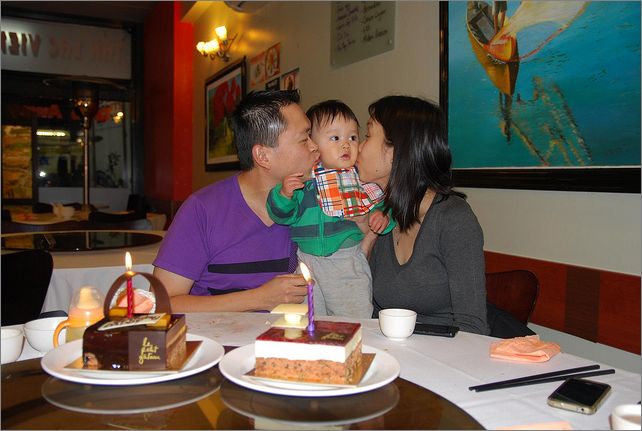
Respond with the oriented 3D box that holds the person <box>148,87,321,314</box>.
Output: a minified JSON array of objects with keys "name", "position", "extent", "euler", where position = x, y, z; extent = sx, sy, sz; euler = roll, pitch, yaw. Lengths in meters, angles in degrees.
[{"name":"person","position":[-0.388,-0.111,2.005],"extent":[0.773,0.961,0.311],"euler":[-3,10,-22]}]

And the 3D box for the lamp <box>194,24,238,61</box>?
[{"name":"lamp","position":[-1.359,-2.264,5.597],"extent":[0.664,0.461,0.251],"euler":[10,13,43]}]

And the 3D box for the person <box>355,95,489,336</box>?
[{"name":"person","position":[0.468,-0.043,1.838],"extent":[0.342,0.946,0.709],"euler":[-7,12,-38]}]

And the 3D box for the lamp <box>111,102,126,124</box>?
[{"name":"lamp","position":[-3.946,-1.998,8.295],"extent":[0.251,0.344,0.083],"euler":[3,-1,-14]}]

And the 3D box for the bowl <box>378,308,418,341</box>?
[{"name":"bowl","position":[0.240,0.370,1.422],"extent":[0.159,0.097,0.157],"euler":[1,-10,0]}]

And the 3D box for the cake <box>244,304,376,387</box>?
[{"name":"cake","position":[-0.028,0.359,1.218],"extent":[0.297,0.149,0.301],"euler":[0,0,27]}]
